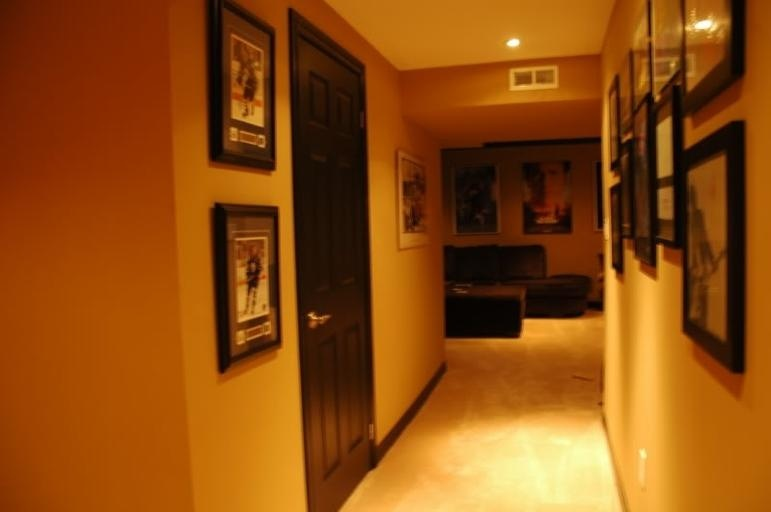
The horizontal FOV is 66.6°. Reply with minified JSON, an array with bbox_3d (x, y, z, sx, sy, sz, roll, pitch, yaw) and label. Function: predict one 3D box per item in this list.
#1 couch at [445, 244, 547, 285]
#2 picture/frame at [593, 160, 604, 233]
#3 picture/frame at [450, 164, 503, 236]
[{"bbox_3d":[1.838,0.148,9.995,1.459,0.630,0.590,0,-2,10],"label":"couch"},{"bbox_3d":[3.361,-0.980,9.377,0.106,1.127,0.414,-1,6,15],"label":"picture/frame"},{"bbox_3d":[1.554,-0.990,9.944,1.109,1.735,0.080,0,5,14],"label":"picture/frame"}]
